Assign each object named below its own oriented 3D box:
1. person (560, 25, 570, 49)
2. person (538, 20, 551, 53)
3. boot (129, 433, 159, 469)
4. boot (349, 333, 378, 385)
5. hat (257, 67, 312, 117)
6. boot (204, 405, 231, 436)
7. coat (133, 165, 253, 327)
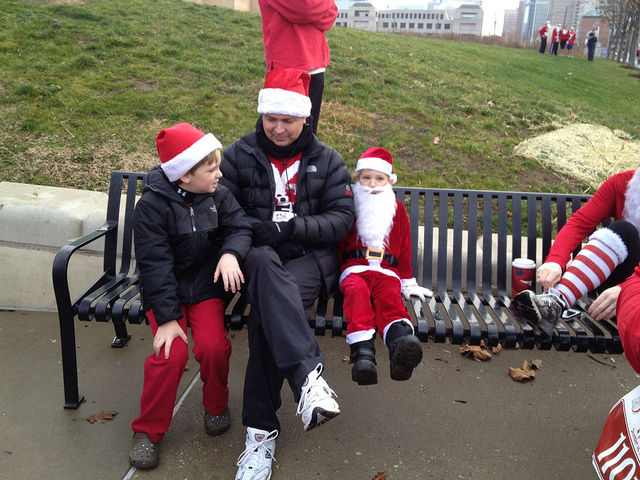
[{"bbox_3d":[11.907,-9.822,25.553,0.367,1.060,1.338,11,21,21],"label":"person"},{"bbox_3d":[10.877,-9.842,25.633,0.417,1.418,1.471,10,21,20],"label":"person"},{"bbox_3d":[-1.226,1.411,3.626,0.180,0.147,0.341,10,7,-29],"label":"boot"},{"bbox_3d":[0.288,0.807,3.553,0.184,0.243,0.305,4,20,2],"label":"boot"},{"bbox_3d":[-0.255,-1.097,3.975,0.370,0.320,0.398,4,12,-10],"label":"hat"},{"bbox_3d":[-0.761,1.282,3.859,0.167,0.128,0.323,-5,28,-19],"label":"boot"},{"bbox_3d":[-0.917,0.022,3.795,0.785,0.926,0.581,-6,22,-25],"label":"coat"}]
